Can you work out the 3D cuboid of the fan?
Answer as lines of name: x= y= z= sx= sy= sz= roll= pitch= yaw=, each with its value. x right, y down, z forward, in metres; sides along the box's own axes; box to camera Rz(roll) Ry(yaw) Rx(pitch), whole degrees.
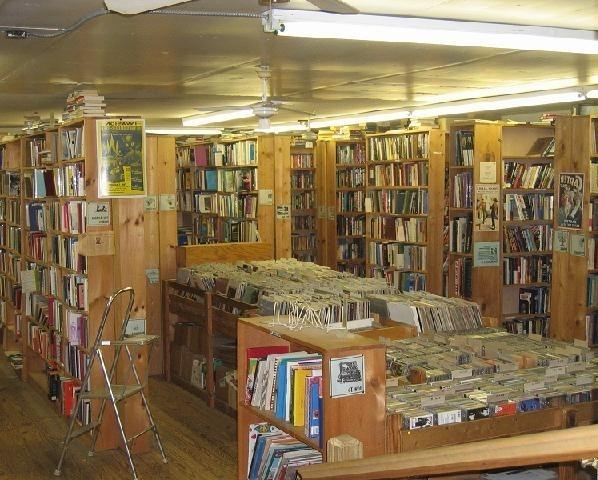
fan: x=-0.632 y=-2.077 z=7.431 sx=1.277 sy=0.239 sz=1.074 roll=-1 pitch=4 yaw=-34

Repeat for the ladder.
ladder: x=-1.812 y=1.255 z=5.132 sx=0.961 sy=1.675 sz=1.220 roll=-4 pitch=6 yaw=-21
